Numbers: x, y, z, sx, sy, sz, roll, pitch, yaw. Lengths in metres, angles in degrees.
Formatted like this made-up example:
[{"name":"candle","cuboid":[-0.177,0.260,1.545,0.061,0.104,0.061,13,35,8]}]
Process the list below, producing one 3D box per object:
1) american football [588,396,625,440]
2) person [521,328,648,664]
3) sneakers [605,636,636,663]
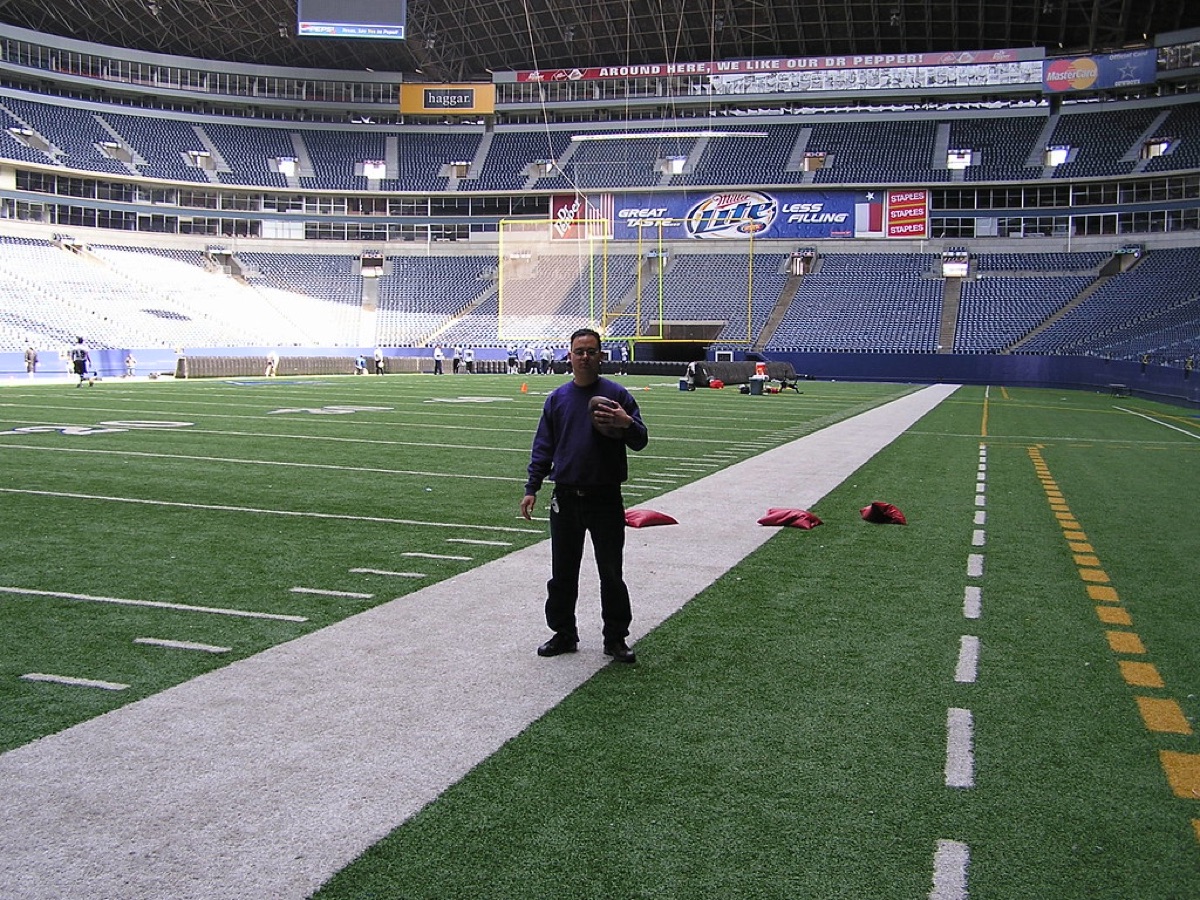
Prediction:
[{"name":"american football","cuboid":[0.032,-0.187,4.552,0.209,0.192,0.093,-16,4,11]},{"name":"person","cuboid":[-0.090,0.215,4.846,0.670,1.827,0.588,2,7,-2]},{"name":"sneakers","cuboid":[0.130,1.101,4.735,0.097,0.073,0.217,0,-5,-27]}]
